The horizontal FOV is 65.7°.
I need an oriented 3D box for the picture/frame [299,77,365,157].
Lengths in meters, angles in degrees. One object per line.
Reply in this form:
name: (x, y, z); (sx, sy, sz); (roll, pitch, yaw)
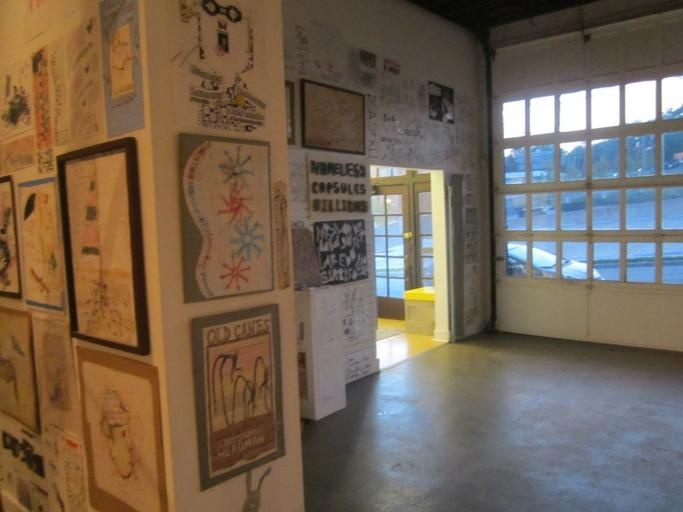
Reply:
picture/frame: (-0.131, -1.467, 5.565); (0.042, 0.702, 0.955); (-2, 0, 41)

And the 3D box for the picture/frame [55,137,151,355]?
picture/frame: (-1.261, -0.067, 2.776); (0.783, 1.058, 0.202); (7, 12, 44)
